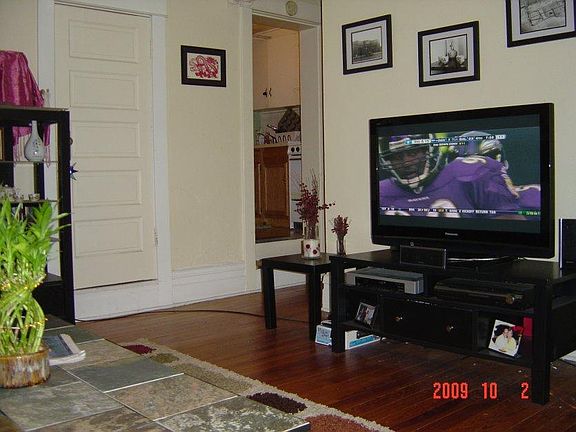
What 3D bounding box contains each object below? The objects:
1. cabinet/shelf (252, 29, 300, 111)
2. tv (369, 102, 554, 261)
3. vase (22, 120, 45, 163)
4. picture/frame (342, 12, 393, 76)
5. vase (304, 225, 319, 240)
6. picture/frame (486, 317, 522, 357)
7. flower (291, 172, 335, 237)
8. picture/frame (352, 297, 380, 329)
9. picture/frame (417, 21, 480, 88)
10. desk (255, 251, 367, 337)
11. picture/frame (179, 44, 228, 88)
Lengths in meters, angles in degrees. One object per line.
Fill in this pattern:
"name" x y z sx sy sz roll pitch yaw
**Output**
"cabinet/shelf" -0.309 -2.268 7.853 1.020 0.990 0.361 -2 -6 7
"tv" 1.115 -0.202 3.029 0.320 0.975 1.334 -5 6 -37
"vase" -2.007 -0.583 3.581 0.206 0.321 0.144 3 4 42
"picture/frame" 0.699 -1.474 3.878 0.619 0.542 0.043 2 7 42
"vase" 0.184 0.132 3.742 0.113 0.130 0.121 3 6 22
"picture/frame" 1.248 0.706 2.615 0.023 0.226 0.198 24 -13 -33
"flower" 0.217 -0.035 3.748 0.332 0.481 0.359 7 -7 -15
"picture/frame" 0.557 0.689 3.206 0.085 0.224 0.220 18 -11 -31
"picture/frame" 1.228 -1.218 3.408 0.570 0.502 0.040 3 7 44
"desk" 0.176 0.607 3.831 0.643 0.636 0.661 4 6 39
"picture/frame" -0.916 -1.581 4.780 0.526 0.390 0.018 -6 8 -38
